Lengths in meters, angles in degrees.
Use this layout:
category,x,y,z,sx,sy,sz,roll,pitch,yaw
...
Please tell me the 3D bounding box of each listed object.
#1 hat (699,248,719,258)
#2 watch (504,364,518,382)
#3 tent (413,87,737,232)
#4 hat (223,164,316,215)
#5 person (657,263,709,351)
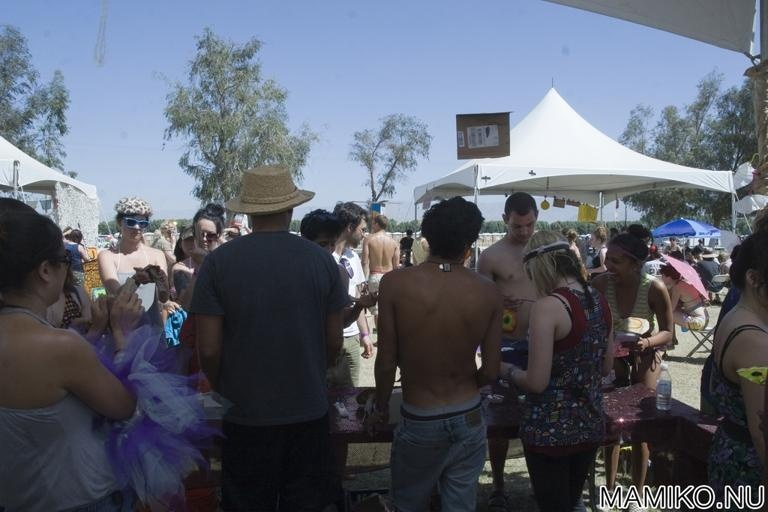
category,x,y,z,sx,sy,sz,roll,pitch,yaw
hat,7.596,-0.068,14.403,0.293,0.097,0.308,-9,4,-35
watch,0.770,0.731,3.796,0.083,0.045,0.097,-2,6,28
tent,3.427,-1.627,11.529,4.416,2.763,4.730,1,-3,-4
hat,-0.701,-0.415,3.764,0.513,0.238,0.593,9,12,27
person,3.490,0.558,7.193,0.587,1.050,0.912,2,-6,20
